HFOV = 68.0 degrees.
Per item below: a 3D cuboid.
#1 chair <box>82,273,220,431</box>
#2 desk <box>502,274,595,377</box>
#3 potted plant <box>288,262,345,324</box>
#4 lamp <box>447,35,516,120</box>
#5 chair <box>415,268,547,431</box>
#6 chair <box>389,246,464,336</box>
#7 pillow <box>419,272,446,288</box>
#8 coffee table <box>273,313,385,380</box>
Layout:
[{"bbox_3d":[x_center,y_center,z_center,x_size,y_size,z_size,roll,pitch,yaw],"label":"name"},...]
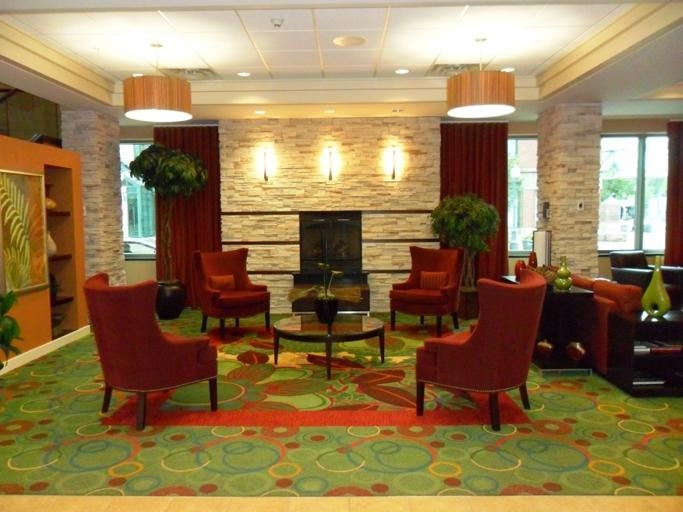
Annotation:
[{"bbox_3d":[-1.659,0.847,4.533,1.012,1.301,0.473,-5,16,-19],"label":"chair"},{"bbox_3d":[2.127,0.723,5.133,0.537,0.641,1.371,1,2,10],"label":"desk"},{"bbox_3d":[-0.262,0.470,6.317,1.146,0.670,0.887,0,0,-2],"label":"potted plant"},{"bbox_3d":[1.640,-2.089,5.834,0.702,0.566,0.637,12,28,32],"label":"lamp"},{"bbox_3d":[1.380,0.828,4.799,1.235,1.040,1.093,-10,-3,30],"label":"chair"},{"bbox_3d":[1.028,0.422,7.812,1.387,1.297,1.389,0,-1,33],"label":"chair"},{"bbox_3d":[1.347,0.360,7.379,0.328,0.163,0.103,0,-11,22],"label":"pillow"},{"bbox_3d":[-0.132,1.026,5.877,1.281,0.581,1.029,-3,12,-11],"label":"coffee table"}]
